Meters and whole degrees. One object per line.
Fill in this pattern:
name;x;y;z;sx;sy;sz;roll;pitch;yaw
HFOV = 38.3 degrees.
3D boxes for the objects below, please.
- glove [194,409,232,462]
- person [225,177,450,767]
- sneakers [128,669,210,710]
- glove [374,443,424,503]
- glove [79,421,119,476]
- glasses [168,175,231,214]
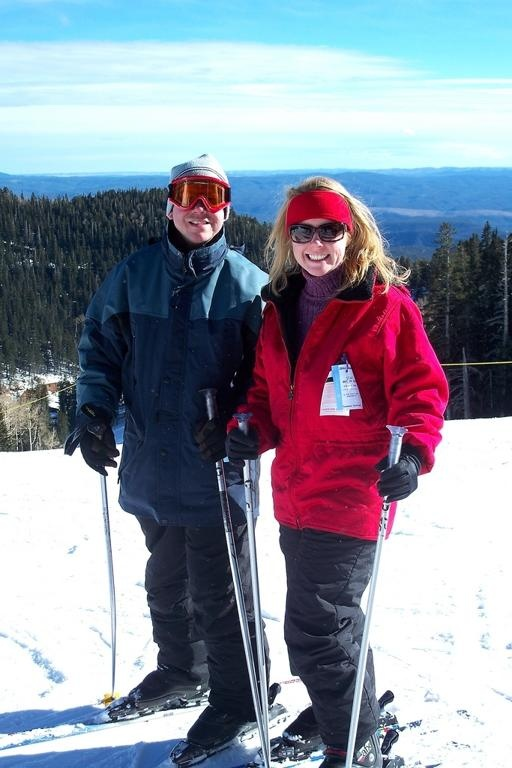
glove;-0.169;0.219;3.043;0.074;0.190;0.145;4;-3;-43
person;0.295;0.311;2.840;0.892;2.233;0.471;3;4;38
sneakers;-0.409;1.411;3.498;0.398;0.161;0.140;-3;-2;-22
glove;0.488;0.304;2.493;0.096;0.189;0.153;3;4;36
glove;-0.662;0.272;3.317;0.180;0.231;0.068;-30;-3;37
glasses;-0.242;-0.799;3.098;0.175;0.087;0.192;0;-6;-3
